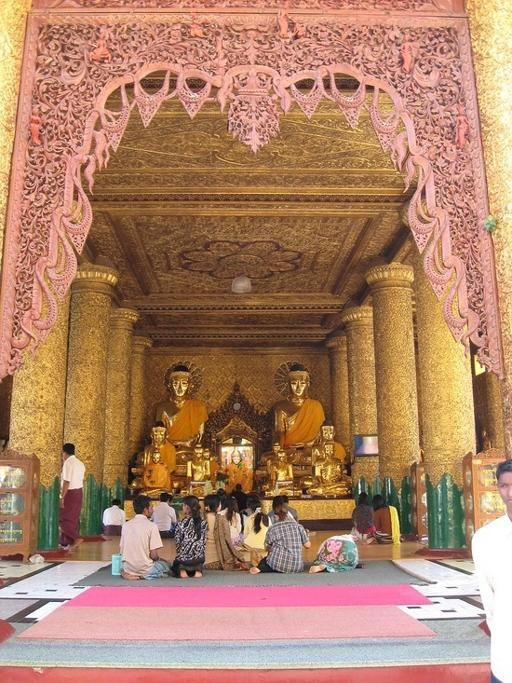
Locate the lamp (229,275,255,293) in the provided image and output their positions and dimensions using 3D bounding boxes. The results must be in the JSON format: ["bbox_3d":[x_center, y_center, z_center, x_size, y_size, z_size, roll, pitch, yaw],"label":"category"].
[{"bbox_3d":[-0.210,-0.853,8.810,0.208,0.295,0.322,-5,-16,11],"label":"lamp"}]

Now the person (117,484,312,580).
[{"bbox_3d":[-0.352,1.477,4.913,1.553,0.768,0.610,2,-14,-17],"label":"person"}]

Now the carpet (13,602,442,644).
[{"bbox_3d":[-0.129,1.246,2.737,1.701,0.048,0.759,-2,-14,1],"label":"carpet"}]

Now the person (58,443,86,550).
[{"bbox_3d":[-1.817,1.505,6.029,0.216,1.033,0.712,3,-17,-16],"label":"person"}]
